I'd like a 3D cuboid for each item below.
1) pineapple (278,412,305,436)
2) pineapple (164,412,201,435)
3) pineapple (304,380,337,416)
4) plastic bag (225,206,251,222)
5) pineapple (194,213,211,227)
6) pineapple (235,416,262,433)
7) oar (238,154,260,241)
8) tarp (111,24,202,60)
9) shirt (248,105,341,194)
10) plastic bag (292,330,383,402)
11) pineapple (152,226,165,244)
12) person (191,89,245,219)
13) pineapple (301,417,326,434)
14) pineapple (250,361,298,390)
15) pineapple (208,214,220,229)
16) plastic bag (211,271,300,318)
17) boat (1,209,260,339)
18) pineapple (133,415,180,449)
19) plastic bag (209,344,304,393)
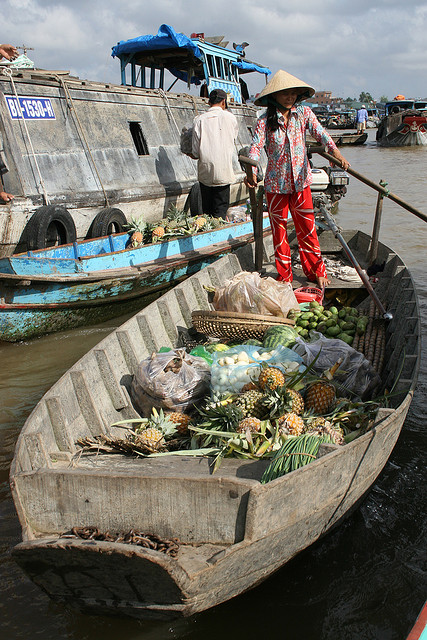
[{"bbox_3d":[0.420,0.558,2.736,0.121,0.102,0.170,2,24,16],"label":"pineapple"},{"bbox_3d":[-0.200,0.665,3.311,0.244,0.088,0.119,11,-17,13],"label":"pineapple"},{"bbox_3d":[0.669,0.461,3.140,0.202,0.176,0.210,0,24,12],"label":"pineapple"},{"bbox_3d":[0.444,-1.965,9.435,0.423,0.153,0.539,3,22,12],"label":"plastic bag"},{"bbox_3d":[-0.142,-1.607,8.156,0.223,0.142,0.378,10,26,32],"label":"pineapple"},{"bbox_3d":[0.191,0.552,2.717,0.082,0.078,0.093,13,-7,-15],"label":"pineapple"},{"bbox_3d":[0.385,-1.347,5.536,0.239,0.856,0.225,4,18,21],"label":"oar"},{"bbox_3d":[-1.332,-6.012,11.072,1.873,0.597,0.760,2,24,17],"label":"tarp"},{"bbox_3d":[0.796,-1.721,5.132,0.856,0.840,0.401,-3,25,5],"label":"shirt"},{"bbox_3d":[0.917,0.309,3.705,0.669,0.392,0.778,4,15,26],"label":"plastic bag"},{"bbox_3d":[-0.842,-1.302,7.652,0.151,0.144,0.294,37,39,1],"label":"pineapple"},{"bbox_3d":[0.018,-2.435,7.708,0.691,1.947,0.699,-3,25,5],"label":"person"},{"bbox_3d":[0.565,0.565,2.810,0.124,0.070,0.173,0,23,12],"label":"pineapple"},{"bbox_3d":[0.352,0.329,3.078,0.198,0.182,0.228,-4,2,41],"label":"pineapple"},{"bbox_3d":[0.014,-1.553,8.069,0.158,0.134,0.222,-18,26,-27],"label":"pineapple"},{"bbox_3d":[0.383,-0.279,4.649,0.857,0.376,0.565,1,12,15],"label":"plastic bag"},{"bbox_3d":[-0.668,-0.879,7.770,1.398,1.011,5.094,7,18,34],"label":"boat"},{"bbox_3d":[-0.340,0.665,3.027,0.132,0.126,0.225,-36,-6,8],"label":"pineapple"},{"bbox_3d":[0.262,0.280,3.426,0.484,0.171,0.354,-7,7,-41],"label":"plastic bag"}]
